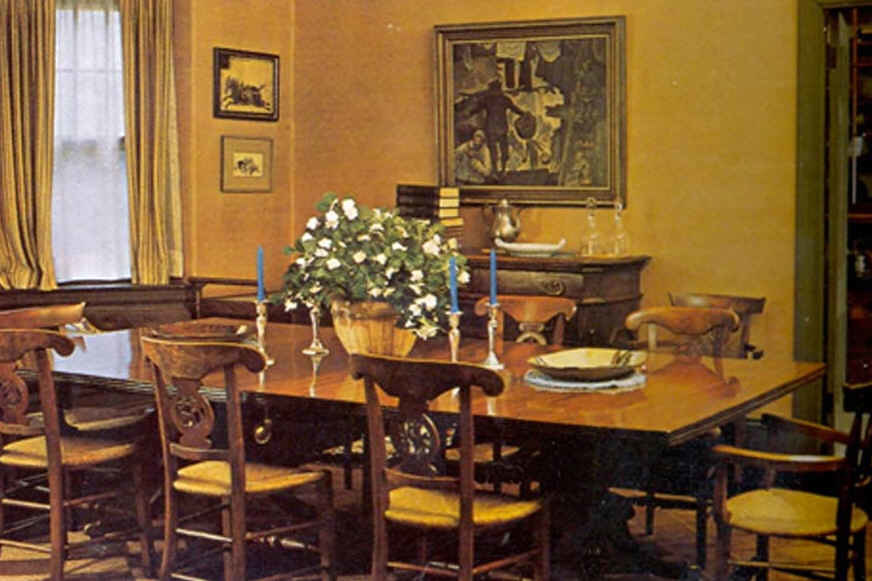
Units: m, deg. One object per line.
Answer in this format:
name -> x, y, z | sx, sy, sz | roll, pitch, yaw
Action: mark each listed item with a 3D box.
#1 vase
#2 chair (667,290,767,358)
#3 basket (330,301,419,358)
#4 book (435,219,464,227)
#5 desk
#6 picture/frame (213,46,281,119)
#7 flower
vase -> -0.266, 0.174, 4.153 | 0.280, 0.193, 0.272 | 2, -4, -35
chair -> 1.683, 0.147, 5.465 | 0.479, 0.317, 0.506 | -2, 4, -18
basket -> -0.252, 0.216, 4.291 | 0.361, 0.252, 0.380 | 3, -2, 41
book -> 0.107, -0.460, 6.419 | 0.190, 0.044, 0.193 | -1, 1, 36
desk -> 0.818, 0.030, 6.058 | 1.014, 0.719, 0.639 | 0, 1, 26
picture/frame -> -1.387, -1.501, 6.837 | 0.041, 0.493, 0.612 | 7, 11, 38
flower -> -0.268, -0.114, 4.118 | 0.792, 0.552, 0.649 | 5, 5, 7
